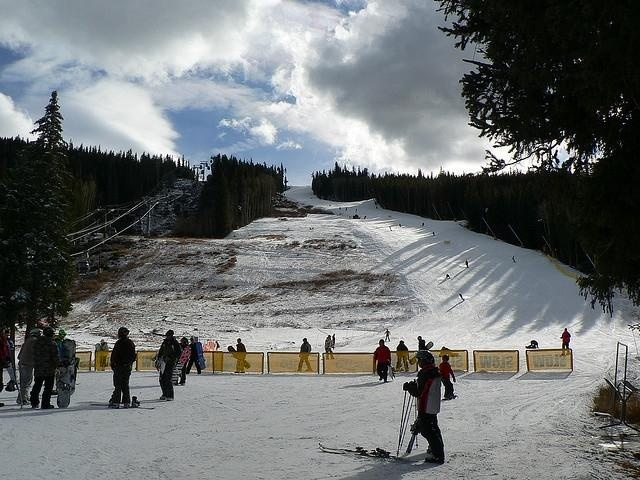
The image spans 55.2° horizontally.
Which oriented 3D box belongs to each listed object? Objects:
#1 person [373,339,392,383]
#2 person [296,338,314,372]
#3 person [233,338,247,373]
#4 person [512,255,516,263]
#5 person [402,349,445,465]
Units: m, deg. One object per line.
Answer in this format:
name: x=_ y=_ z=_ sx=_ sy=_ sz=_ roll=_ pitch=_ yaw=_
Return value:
person: x=2.607 y=4.979 z=25.526 sx=0.652 sy=1.909 sz=0.986 roll=0 pitch=10 yaw=10
person: x=-0.730 y=5.335 z=28.779 sx=0.667 sy=1.130 sz=1.612 roll=-2 pitch=11 yaw=-2
person: x=-3.626 y=5.303 z=28.218 sx=0.540 sy=1.350 sz=0.842 roll=-3 pitch=10 yaw=-9
person: x=20.942 y=2.000 z=66.054 sx=0.350 sy=1.116 sz=0.414 roll=-2 pitch=-29 yaw=20
person: x=2.700 y=4.166 z=15.514 sx=0.906 sy=2.422 sz=1.523 roll=0 pitch=10 yaw=9
